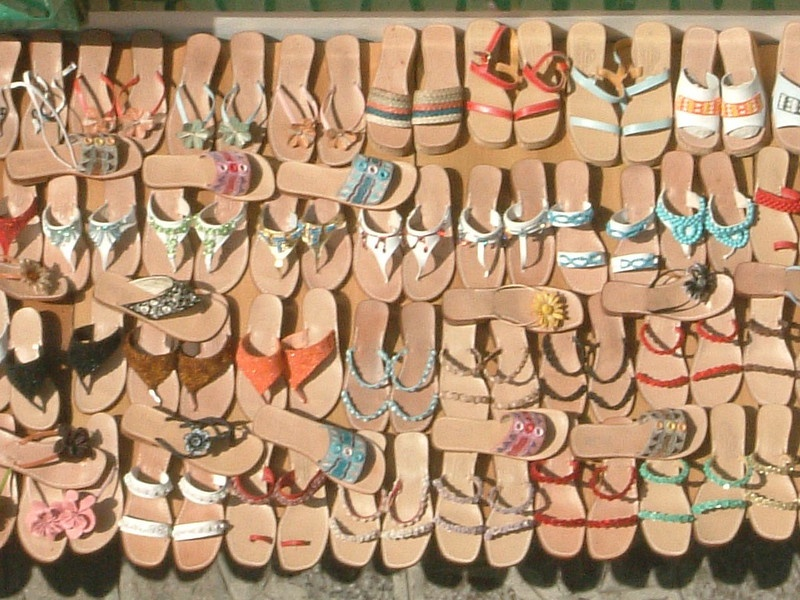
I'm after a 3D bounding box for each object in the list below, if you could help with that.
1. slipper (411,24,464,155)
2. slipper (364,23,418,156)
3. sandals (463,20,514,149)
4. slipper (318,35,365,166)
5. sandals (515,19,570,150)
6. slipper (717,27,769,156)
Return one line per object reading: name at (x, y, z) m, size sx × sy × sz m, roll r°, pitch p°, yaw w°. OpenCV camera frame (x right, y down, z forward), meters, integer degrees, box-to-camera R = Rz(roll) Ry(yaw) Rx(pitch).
slipper at (0.247, -1.400, 8.045) m, size 0.302 × 0.906 × 0.218 m, roll 0°, pitch -2°, yaw 3°
slipper at (-0.053, -1.416, 8.164) m, size 0.298 × 0.906 × 0.219 m, roll 5°, pitch -9°, yaw 3°
sandals at (0.583, -1.403, 8.048) m, size 0.278 × 0.909 × 0.272 m, roll -2°, pitch -4°, yaw 0°
slipper at (-0.385, -1.329, 8.065) m, size 0.317 × 0.828 × 0.354 m, roll 1°, pitch 15°, yaw -2°
sandals at (0.927, -1.412, 7.955) m, size 0.325 × 0.914 × 0.236 m, roll -4°, pitch -7°, yaw 2°
slipper at (2.259, -1.366, 8.032) m, size 0.277 × 0.915 × 0.237 m, roll -3°, pitch -3°, yaw 13°
